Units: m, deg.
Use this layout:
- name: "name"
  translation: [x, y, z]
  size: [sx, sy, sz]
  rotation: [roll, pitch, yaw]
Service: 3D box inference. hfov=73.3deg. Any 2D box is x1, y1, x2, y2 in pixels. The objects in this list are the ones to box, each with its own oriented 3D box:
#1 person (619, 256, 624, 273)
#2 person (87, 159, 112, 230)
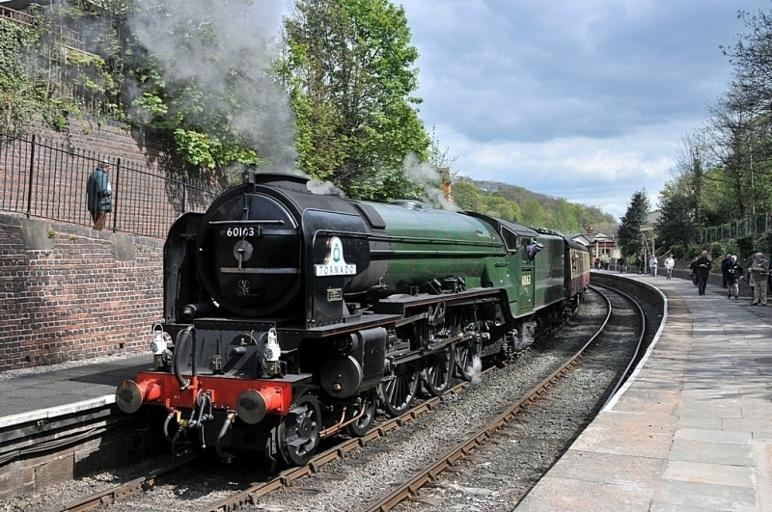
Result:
- name: "person"
  translation: [23.843, 0.906, 52.667]
  size: [0.398, 1.271, 1.881]
  rotation: [-1, 1, 22]
- name: "person"
  translation: [-6.501, -1.364, 11.806]
  size: [0.449, 1.195, 0.703]
  rotation: [-3, 1, -30]
